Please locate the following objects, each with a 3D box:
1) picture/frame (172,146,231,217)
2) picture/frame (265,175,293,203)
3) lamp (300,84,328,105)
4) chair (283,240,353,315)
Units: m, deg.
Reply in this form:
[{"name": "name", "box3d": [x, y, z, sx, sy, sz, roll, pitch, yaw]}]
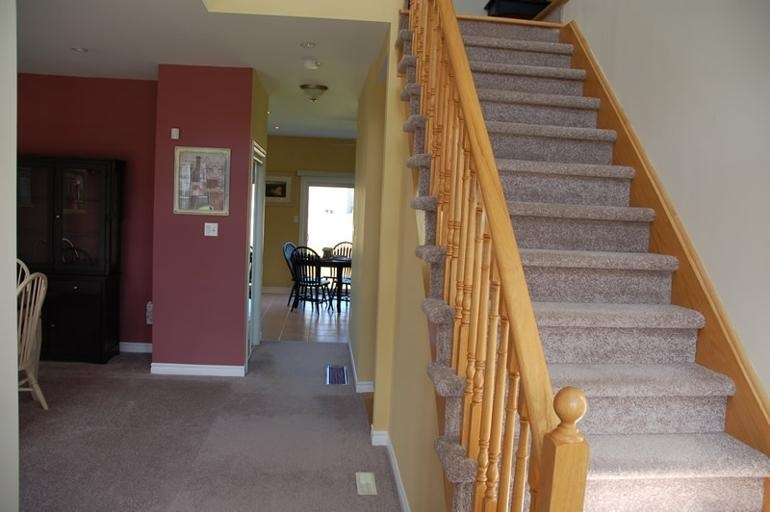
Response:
[{"name": "picture/frame", "box3d": [-1.742, -0.721, 5.884, 0.659, 0.820, 0.034, 1, 1, -5]}, {"name": "picture/frame", "box3d": [-1.745, -1.102, 10.265, 0.506, 0.465, 0.037, 2, 12, 1]}, {"name": "lamp", "box3d": [-0.765, -1.759, 6.737, 0.306, 0.169, 0.684, 2, 14, -7]}, {"name": "chair", "box3d": [-1.023, 0.302, 9.453, 0.983, 1.109, 1.575, 3, 14, -4]}]
